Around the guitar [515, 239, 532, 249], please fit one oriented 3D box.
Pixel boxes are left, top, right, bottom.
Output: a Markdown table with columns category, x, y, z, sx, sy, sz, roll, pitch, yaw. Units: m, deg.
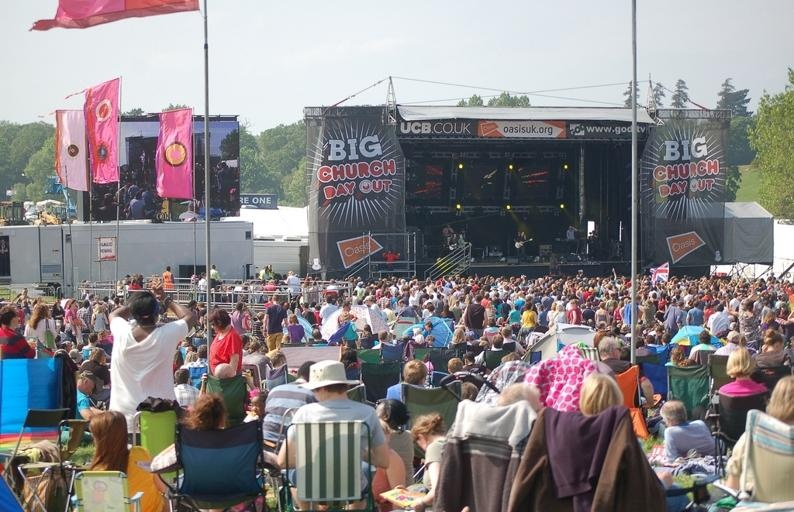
| category | x | y | z | sx | sy | sz | roll | pitch | yaw |
| --- | --- | --- | --- | --- | --- | --- | --- | --- | --- |
| guitar | 6.047 | -0.619 | 75.629 | 0.516 | 0.260 | 0.536 | 9 | -7 | -8 |

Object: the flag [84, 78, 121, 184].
| category | x | y | z | sx | sy | sz | roll | pitch | yaw |
| --- | --- | --- | --- | --- | --- | --- | --- | --- | --- |
| flag | -11.163 | -4.681 | 59.953 | 1.354 | 3.943 | 2.945 | -5 | 1 | -11 |
